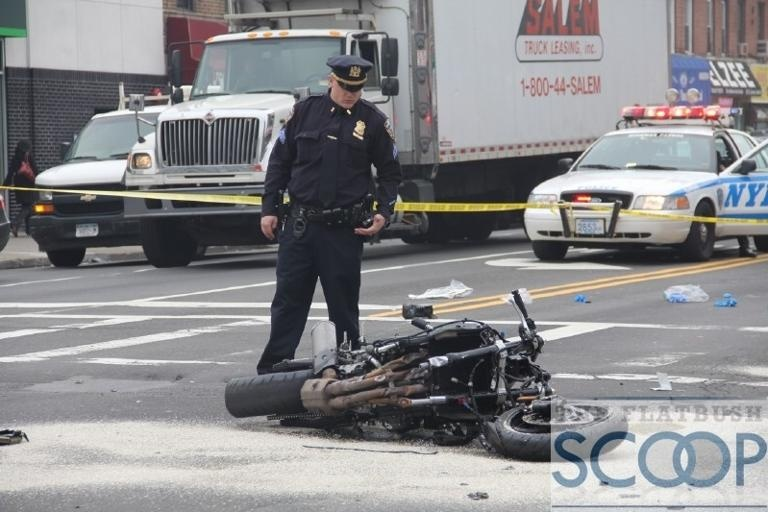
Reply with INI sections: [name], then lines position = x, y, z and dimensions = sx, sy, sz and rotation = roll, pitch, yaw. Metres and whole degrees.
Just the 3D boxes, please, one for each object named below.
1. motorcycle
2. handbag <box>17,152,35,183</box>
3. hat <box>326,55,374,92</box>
[motorcycle]
position = 0.588, 1.226, 17.914
dimensions = 3.180, 1.216, 1.853
rotation = -1, -6, 22
[handbag]
position = -6.906, -1.723, 32.854
dimensions = 0.320, 0.683, 0.574
rotation = -1, -10, 3
[hat]
position = -0.356, -1.994, 18.393
dimensions = 0.462, 0.370, 0.212
rotation = -2, 15, -1
